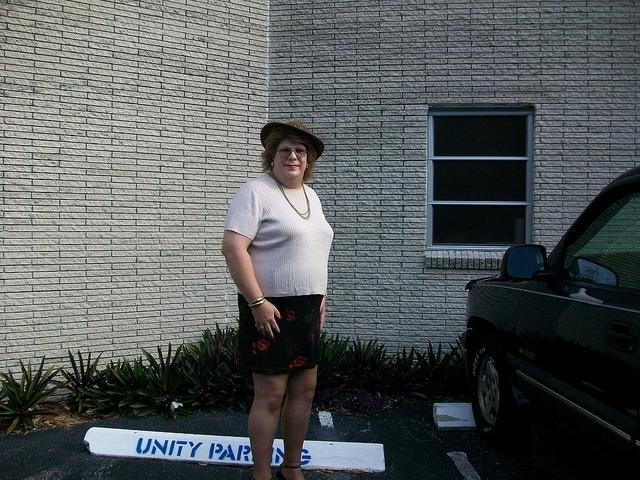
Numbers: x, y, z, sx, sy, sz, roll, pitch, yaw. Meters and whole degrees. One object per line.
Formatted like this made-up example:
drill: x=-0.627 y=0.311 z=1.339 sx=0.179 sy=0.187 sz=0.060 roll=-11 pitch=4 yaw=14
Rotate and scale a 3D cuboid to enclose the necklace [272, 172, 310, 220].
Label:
necklace: x=-0.221 y=-0.326 z=5.221 sx=0.023 sy=0.375 sz=0.281 roll=-30 pitch=7 yaw=38
